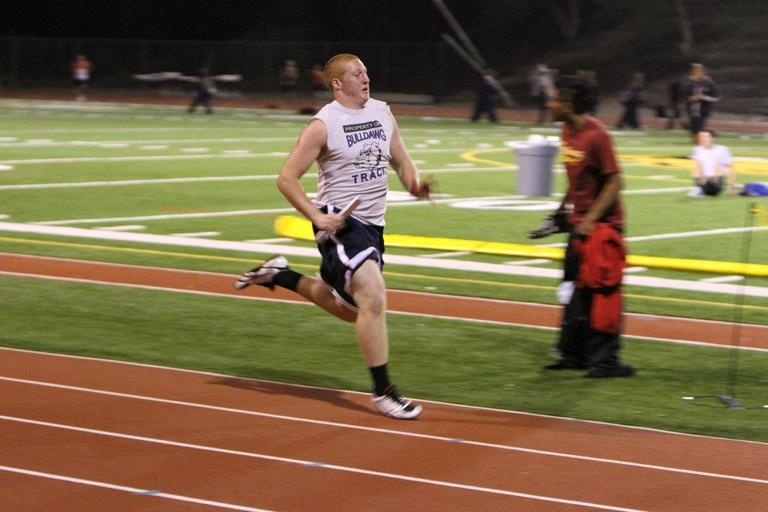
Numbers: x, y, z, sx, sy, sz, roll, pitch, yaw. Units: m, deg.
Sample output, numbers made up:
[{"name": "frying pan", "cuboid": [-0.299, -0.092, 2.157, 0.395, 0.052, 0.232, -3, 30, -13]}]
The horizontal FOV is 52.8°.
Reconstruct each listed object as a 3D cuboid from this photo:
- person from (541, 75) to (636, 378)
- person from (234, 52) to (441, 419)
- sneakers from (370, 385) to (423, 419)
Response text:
[{"name": "person", "cuboid": [1.631, -0.221, 5.944, 0.507, 2.288, 0.713, -4, 14, -33]}, {"name": "person", "cuboid": [-0.258, -0.035, 5.311, 1.144, 2.117, 1.080, 2, 11, -7]}, {"name": "sneakers", "cuboid": [0.090, 0.966, 5.106, 0.420, 0.131, 0.174, 6, 18, 42]}]
